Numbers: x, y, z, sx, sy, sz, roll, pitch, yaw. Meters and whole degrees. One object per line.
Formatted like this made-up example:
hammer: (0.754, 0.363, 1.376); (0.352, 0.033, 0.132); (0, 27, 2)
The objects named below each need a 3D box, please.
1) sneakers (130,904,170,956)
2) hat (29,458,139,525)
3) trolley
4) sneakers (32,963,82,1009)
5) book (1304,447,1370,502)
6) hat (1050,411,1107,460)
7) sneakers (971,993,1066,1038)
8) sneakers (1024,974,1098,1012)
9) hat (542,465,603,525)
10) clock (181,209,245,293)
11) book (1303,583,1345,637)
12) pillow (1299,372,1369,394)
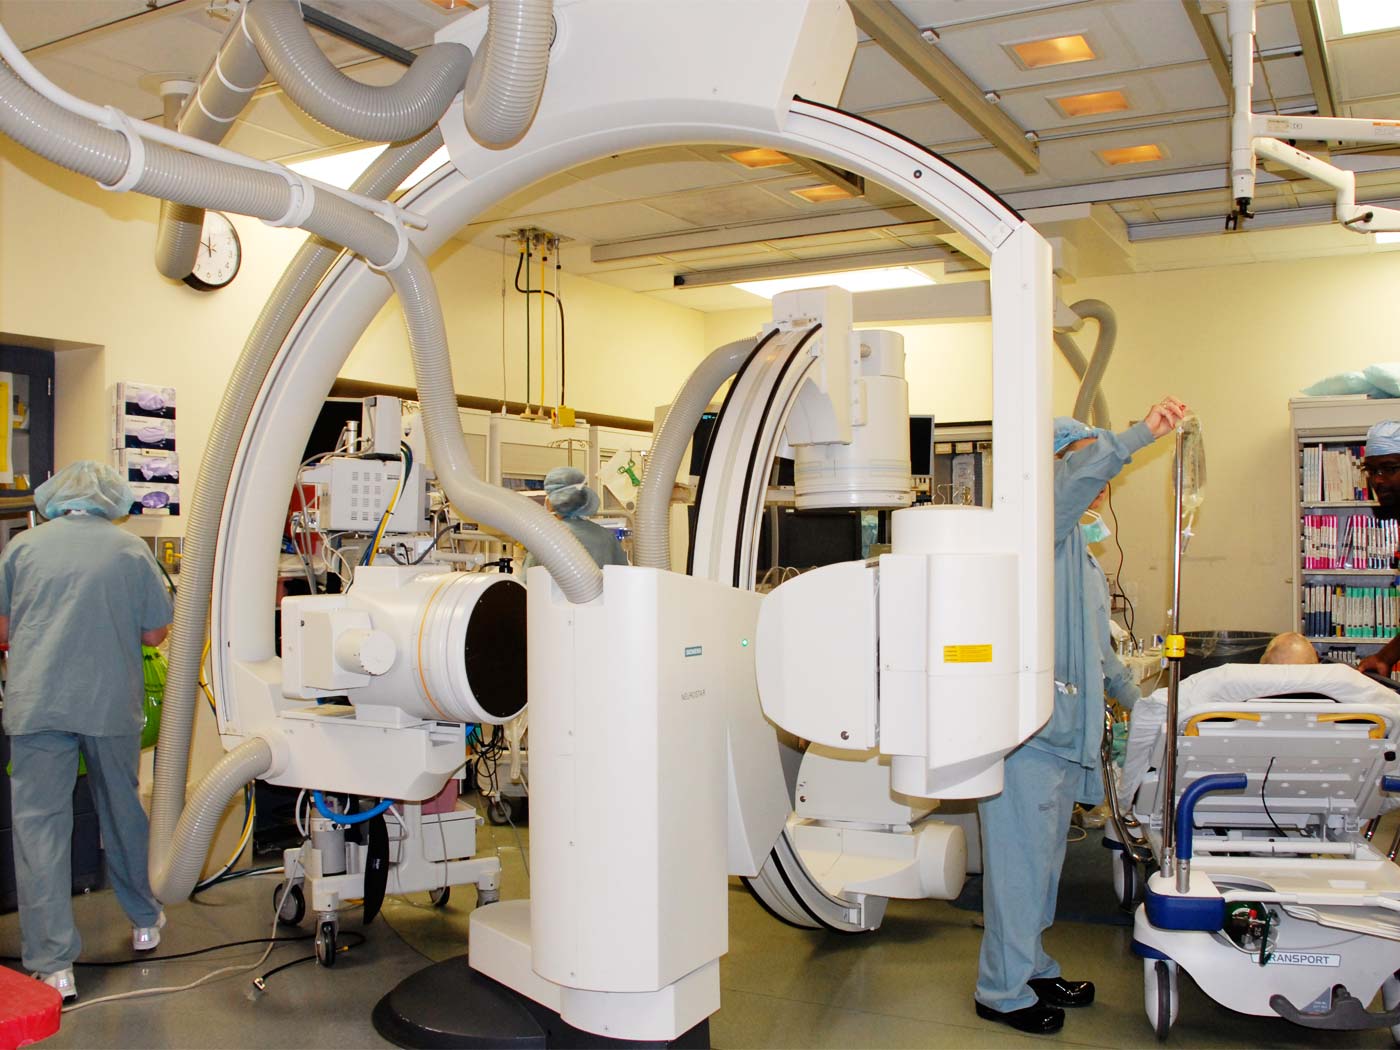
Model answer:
sneakers: (-2.295, 1.694, 4.813); (0.075, 0.097, 0.230); (0, -3, -10)
hat: (-2.542, -0.146, 4.895); (0.258, 0.151, 0.304); (9, 11, 8)
trolley: (-1.412, 1.410, 5.065); (0.786, 1.003, 0.658); (6, -8, -41)
sneakers: (-2.403, 1.719, 4.326); (0.119, 0.116, 0.253); (0, -2, -30)
book: (4.200, -0.308, 7.711); (0.414, 0.452, 0.314); (0, -1, -19)
hat: (1.438, -0.367, 4.408); (0.198, 0.085, 0.135); (-14, -46, 3)
sneakers: (1.137, 1.720, 4.075); (0.286, 0.132, 0.109); (-5, -6, 26)
sneakers: (1.312, 1.685, 4.176); (0.273, 0.127, 0.103); (-2, 0, 0)
hat: (-0.656, -0.164, 6.050); (0.232, 0.277, 0.288); (-11, -5, 34)
clock: (-2.856, -1.596, 6.784); (0.187, 0.454, 0.353); (-1, -2, 9)
book: (4.158, 0.559, 7.697); (0.264, 0.420, 0.289); (1, -8, 9)
pillow: (4.283, -0.936, 7.706); (0.251, 0.107, 0.199); (-9, -9, 38)
